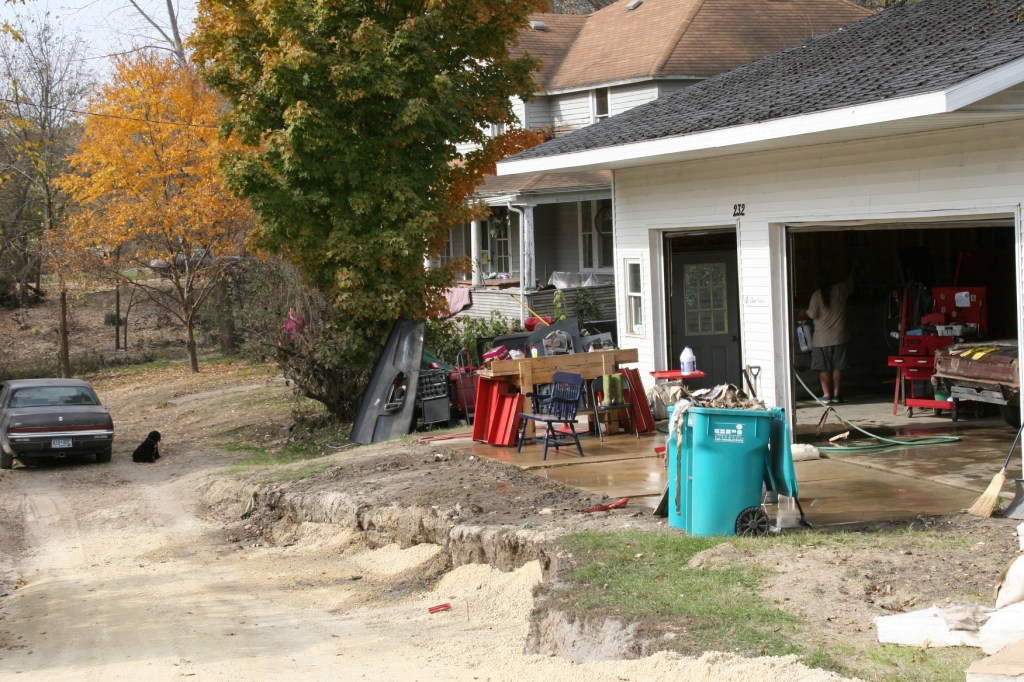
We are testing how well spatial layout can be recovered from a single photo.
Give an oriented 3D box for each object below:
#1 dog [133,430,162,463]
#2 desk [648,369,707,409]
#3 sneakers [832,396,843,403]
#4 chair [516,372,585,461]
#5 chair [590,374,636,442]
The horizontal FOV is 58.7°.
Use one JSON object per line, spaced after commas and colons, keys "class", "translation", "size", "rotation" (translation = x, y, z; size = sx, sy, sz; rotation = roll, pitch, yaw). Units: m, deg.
{"class": "dog", "translation": [-8.685, 2.547, 21.638], "size": [0.781, 0.596, 0.452], "rotation": [-22, 3, -5]}
{"class": "desk", "translation": [3.011, 0.834, 17.088], "size": [0.913, 0.512, 0.826], "rotation": [0, 2, -2]}
{"class": "sneakers", "translation": [6.717, 1.214, 18.820], "size": [0.165, 0.156, 0.194], "rotation": [-2, -2, 26]}
{"class": "chair", "translation": [0.621, 1.235, 15.342], "size": [0.954, 1.303, 1.001], "rotation": [-3, 6, -42]}
{"class": "chair", "translation": [1.776, 1.157, 16.316], "size": [0.746, 1.124, 0.938], "rotation": [-1, 1, 5]}
